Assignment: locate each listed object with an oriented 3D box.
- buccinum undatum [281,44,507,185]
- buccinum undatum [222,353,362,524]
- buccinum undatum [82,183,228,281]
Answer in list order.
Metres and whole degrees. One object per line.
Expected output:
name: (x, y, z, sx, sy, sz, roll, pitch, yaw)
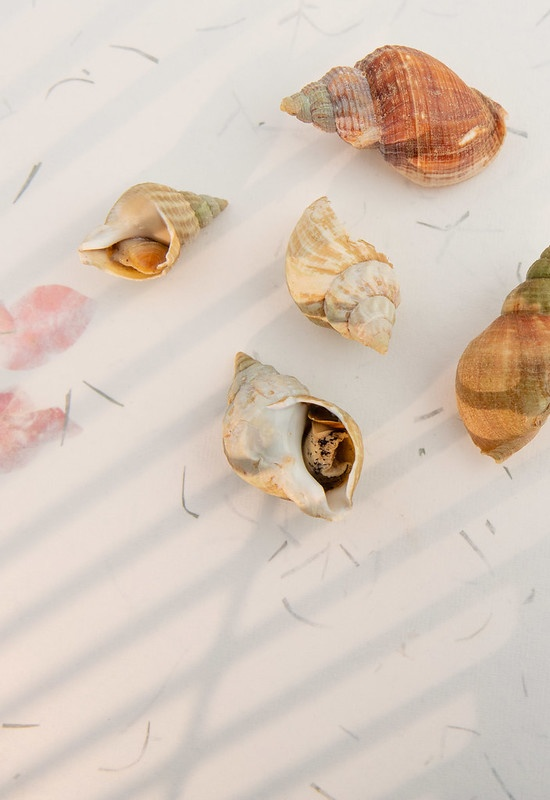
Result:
buccinum undatum: (0.188, -0.465, 1.394, 0.414, 0.134, 0.214, -15, 39, -31)
buccinum undatum: (0.042, 0.061, 1.290, 0.205, 0.109, 0.234, -14, 83, 14)
buccinum undatum: (-0.186, -0.270, 1.341, 0.125, 0.116, 0.199, 26, 60, 15)
